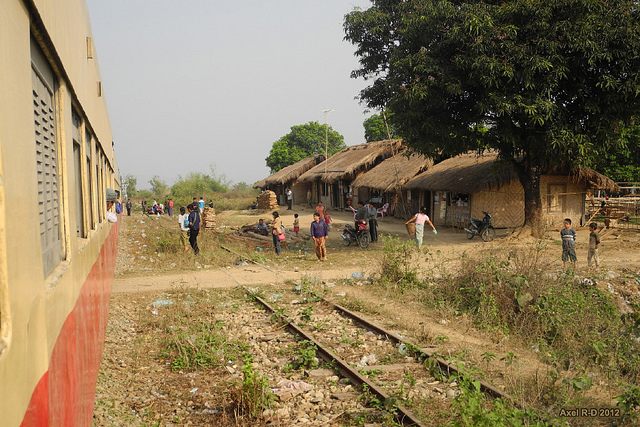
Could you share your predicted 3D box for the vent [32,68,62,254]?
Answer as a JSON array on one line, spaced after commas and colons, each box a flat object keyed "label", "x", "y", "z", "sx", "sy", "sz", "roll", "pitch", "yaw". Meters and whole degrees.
[{"label": "vent", "x": -2.619, "y": -0.481, "z": 4.867, "sx": 0.188, "sy": 1.608, "sz": 0.741, "roll": -1, "pitch": 0, "yaw": -22}]

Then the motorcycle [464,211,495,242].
[{"label": "motorcycle", "x": 6.233, "y": 0.495, "z": 19.691, "sx": 0.667, "sy": 1.126, "sz": 1.752, "roll": 15, "pitch": -2, "yaw": -20}]

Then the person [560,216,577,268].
[{"label": "person", "x": 6.757, "y": 0.800, "z": 13.718, "sx": 0.367, "sy": 1.377, "sz": 2.106, "roll": -1, "pitch": 0, "yaw": 27}]

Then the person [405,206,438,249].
[{"label": "person", "x": 4.054, "y": 0.531, "z": 19.896, "sx": 1.236, "sy": 1.687, "sz": 0.391, "roll": 12, "pitch": 13, "yaw": 24}]

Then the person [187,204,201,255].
[{"label": "person", "x": -4.145, "y": 0.534, "z": 16.732, "sx": 0.334, "sy": 1.570, "sz": 0.998, "roll": -1, "pitch": 0, "yaw": -14}]

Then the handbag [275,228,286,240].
[{"label": "handbag", "x": -1.243, "y": 0.702, "z": 16.791, "sx": 0.289, "sy": 0.312, "sz": 0.128, "roll": -3, "pitch": 1, "yaw": -38}]

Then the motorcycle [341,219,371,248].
[{"label": "motorcycle", "x": 1.272, "y": 0.656, "z": 18.675, "sx": 0.715, "sy": 1.202, "sz": 1.731, "roll": 10, "pitch": -6, "yaw": -29}]
